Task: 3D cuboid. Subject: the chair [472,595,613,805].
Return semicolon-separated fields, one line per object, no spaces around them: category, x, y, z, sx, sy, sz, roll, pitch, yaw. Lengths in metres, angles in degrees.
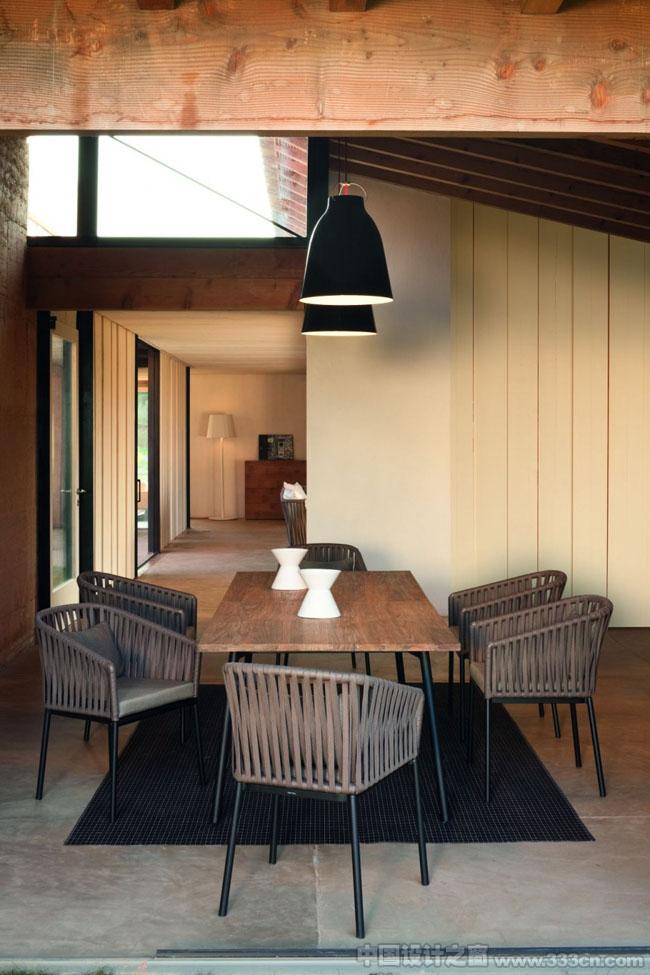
chair;0.799;0.786;3.238;0.647;0.984;0.729;1;-1;0

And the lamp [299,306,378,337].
lamp;0.063;-0.798;3.577;0.367;0.149;0.180;-1;7;-31

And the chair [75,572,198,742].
chair;-0.800;0.769;3.916;0.689;0.968;0.654;0;4;16

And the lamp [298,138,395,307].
lamp;0.083;-0.927;2.981;0.383;0.431;0.400;-16;33;-25

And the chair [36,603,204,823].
chair;-0.786;0.773;3.202;0.660;1.018;0.736;-1;0;28

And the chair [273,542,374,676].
chair;0.054;0.754;4.957;0.677;1.074;0.712;0;-1;0

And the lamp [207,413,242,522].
lamp;-2.114;-0.424;14.962;0.598;2.061;0.520;1;5;-8
